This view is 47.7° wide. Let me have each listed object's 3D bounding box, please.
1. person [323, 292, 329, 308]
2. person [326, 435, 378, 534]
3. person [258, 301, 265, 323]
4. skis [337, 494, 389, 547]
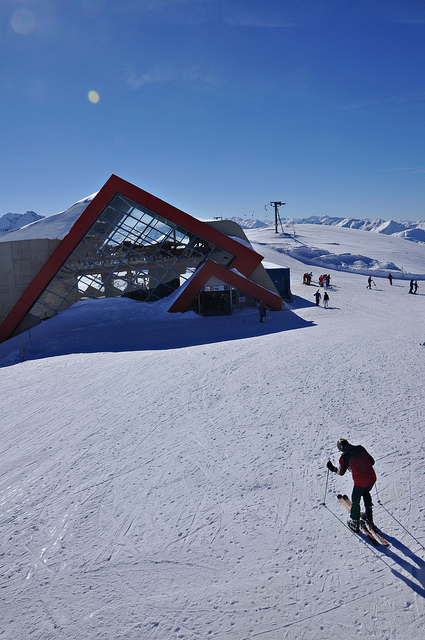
[{"bbox_3d":[7.116,-1.244,30.251,0.349,0.915,1.488,-2,14,13],"label":"person"},{"bbox_3d":[2.133,2.486,7.436,0.675,1.415,0.668,-9,9,0],"label":"person"},{"bbox_3d":[2.599,-0.424,25.413,0.255,0.916,1.080,-4,14,6],"label":"person"},{"bbox_3d":[2.300,3.110,7.421,0.188,0.211,1.175,8,-2,-9],"label":"skis"}]
